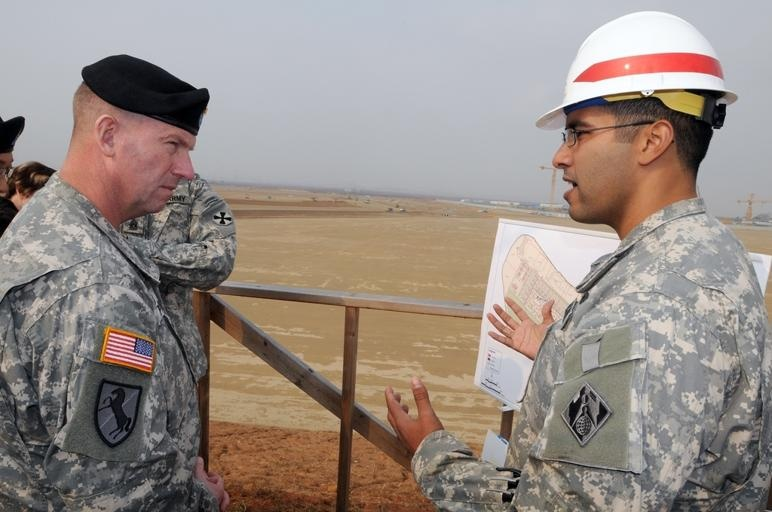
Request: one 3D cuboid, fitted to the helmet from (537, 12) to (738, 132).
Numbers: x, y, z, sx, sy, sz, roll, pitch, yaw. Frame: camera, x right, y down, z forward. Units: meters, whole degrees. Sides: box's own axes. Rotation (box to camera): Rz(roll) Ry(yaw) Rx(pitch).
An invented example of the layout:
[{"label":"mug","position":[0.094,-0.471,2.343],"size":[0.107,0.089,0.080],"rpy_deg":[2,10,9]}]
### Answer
[{"label":"helmet","position":[0.892,-0.688,2.348],"size":[0.624,0.388,0.471],"rpy_deg":[7,13,38]}]
